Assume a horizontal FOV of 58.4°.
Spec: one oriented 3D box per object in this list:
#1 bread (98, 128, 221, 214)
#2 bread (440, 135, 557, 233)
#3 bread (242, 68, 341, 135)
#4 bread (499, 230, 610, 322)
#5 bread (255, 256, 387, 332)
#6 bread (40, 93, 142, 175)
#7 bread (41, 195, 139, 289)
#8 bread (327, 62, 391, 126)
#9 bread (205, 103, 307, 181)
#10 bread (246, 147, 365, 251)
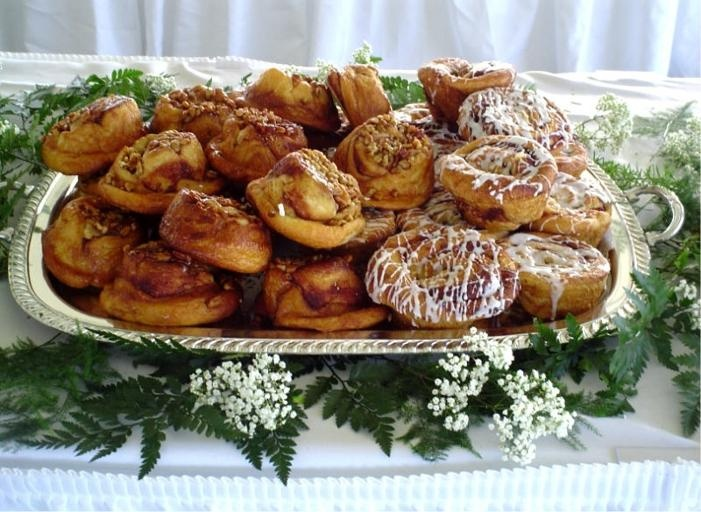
[{"bbox_3d":[-0.393,-0.167,1.371,0.239,0.081,0.168,-19,63,-19],"label":"bread"},{"bbox_3d":[0.299,-0.161,1.368,0.211,0.115,0.229,-36,47,-29],"label":"bread"},{"bbox_3d":[-0.135,-0.371,1.509,0.276,0.094,0.139,19,29,-18],"label":"bread"},{"bbox_3d":[0.435,0.032,1.369,0.194,0.071,0.195,5,31,4],"label":"bread"},{"bbox_3d":[-0.054,0.084,1.295,0.200,0.064,0.169,2,34,-11],"label":"bread"},{"bbox_3d":[-0.563,-0.255,1.451,0.211,0.072,0.154,-35,44,-17],"label":"bread"},{"bbox_3d":[-0.547,-0.031,1.339,0.203,0.120,0.187,9,62,-13],"label":"bread"},{"bbox_3d":[0.013,-0.385,1.570,0.130,0.153,0.063,-28,7,-19],"label":"bread"},{"bbox_3d":[-0.199,-0.248,1.405,0.200,0.064,0.173,-17,45,-17],"label":"bread"},{"bbox_3d":[-0.099,-0.085,1.341,0.230,0.110,0.209,21,42,-7],"label":"bread"}]
